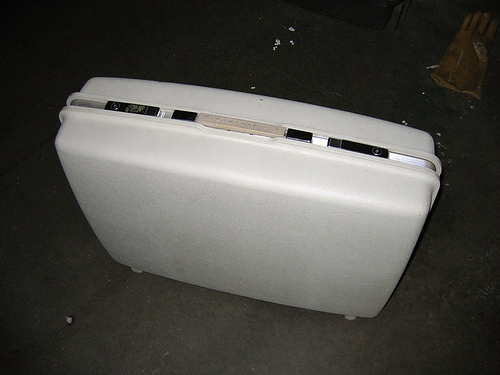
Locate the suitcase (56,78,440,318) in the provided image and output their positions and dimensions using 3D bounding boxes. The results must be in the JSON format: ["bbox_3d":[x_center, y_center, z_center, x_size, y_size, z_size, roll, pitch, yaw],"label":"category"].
[{"bbox_3d":[-0.015,0.325,2.347,1.722,1.324,0.688,12,52,6],"label":"suitcase"}]
